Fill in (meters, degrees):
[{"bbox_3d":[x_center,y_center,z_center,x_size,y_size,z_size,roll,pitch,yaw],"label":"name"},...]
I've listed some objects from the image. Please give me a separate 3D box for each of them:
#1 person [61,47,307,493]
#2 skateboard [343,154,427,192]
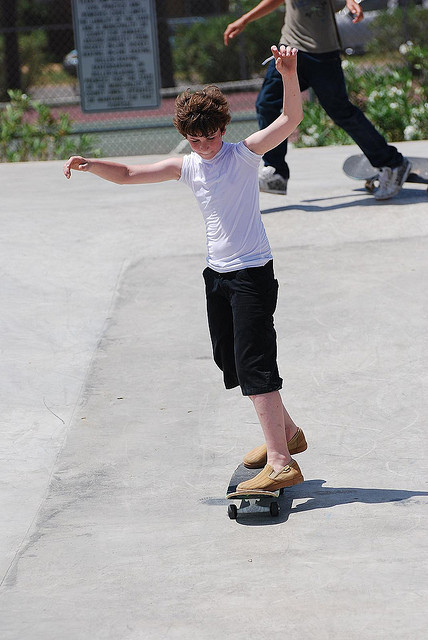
[{"bbox_3d":[0.021,-0.170,2.489,0.304,1.460,0.665,-14,19,-42],"label":"person"},{"bbox_3d":[1.365,-1.179,5.647,0.659,0.296,0.400,1,12,7],"label":"skateboard"}]
